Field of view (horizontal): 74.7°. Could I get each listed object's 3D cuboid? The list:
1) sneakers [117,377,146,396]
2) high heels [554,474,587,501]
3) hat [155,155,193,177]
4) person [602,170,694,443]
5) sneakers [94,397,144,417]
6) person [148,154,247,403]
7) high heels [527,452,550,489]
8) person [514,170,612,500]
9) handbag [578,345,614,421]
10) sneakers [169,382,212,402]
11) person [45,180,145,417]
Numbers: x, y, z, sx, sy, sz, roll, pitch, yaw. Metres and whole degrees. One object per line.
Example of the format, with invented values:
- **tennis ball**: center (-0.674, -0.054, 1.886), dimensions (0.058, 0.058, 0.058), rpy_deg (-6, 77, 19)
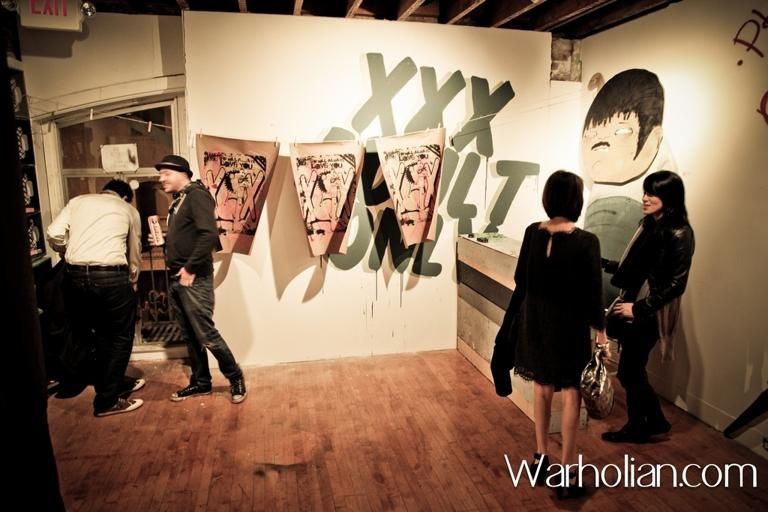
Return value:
- **sneakers**: center (-2.153, 1.100, 4.319), dimensions (0.090, 0.107, 0.259), rpy_deg (1, 12, 7)
- **high heels**: center (1.240, 1.490, 3.329), dimensions (0.270, 0.129, 0.093), rpy_deg (-7, 7, -26)
- **hat**: center (-1.688, -0.716, 4.040), dimensions (0.186, 0.170, 0.234), rpy_deg (14, 19, 35)
- **person**: center (1.938, 0.367, 3.697), dimensions (0.507, 1.930, 0.510), rpy_deg (3, 15, 1)
- **sneakers**: center (-2.101, 1.187, 3.993), dimensions (0.331, 0.139, 0.124), rpy_deg (-5, 11, -28)
- **person**: center (-1.481, 0.195, 4.109), dimensions (0.693, 1.930, 0.563), rpy_deg (0, 15, -10)
- **high heels**: center (1.032, 1.409, 3.345), dimensions (0.105, 0.258, 0.098), rpy_deg (-16, 19, -40)
- **person**: center (1.122, 0.498, 3.273), dimensions (0.650, 2.035, 0.383), rpy_deg (14, 18, 36)
- **handbag**: center (1.367, 0.840, 3.234), dimensions (0.199, 0.528, 0.183), rpy_deg (10, 16, 25)
- **sneakers**: center (-1.595, 1.111, 4.197), dimensions (0.361, 0.160, 0.124), rpy_deg (4, 4, -22)
- **person**: center (-2.281, 0.370, 4.007), dimensions (0.628, 1.639, 0.606), rpy_deg (-1, 15, -15)
